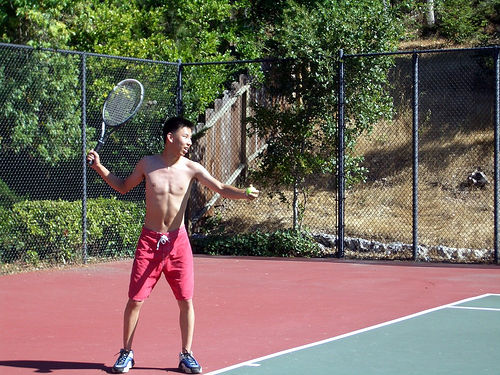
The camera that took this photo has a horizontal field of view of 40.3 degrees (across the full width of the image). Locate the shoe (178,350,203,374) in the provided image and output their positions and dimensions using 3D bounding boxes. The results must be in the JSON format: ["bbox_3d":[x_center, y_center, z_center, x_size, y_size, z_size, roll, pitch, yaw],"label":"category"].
[{"bbox_3d":[-0.632,1.919,7.495,0.265,0.214,0.250,-1,8,-7],"label":"shoe"}]

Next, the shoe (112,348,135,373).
[{"bbox_3d":[-1.334,1.901,7.531,0.147,0.229,0.338,6,10,39],"label":"shoe"}]

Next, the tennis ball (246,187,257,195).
[{"bbox_3d":[0.021,0.030,7.216,0.064,0.069,0.080,30,29,0],"label":"tennis ball"}]
